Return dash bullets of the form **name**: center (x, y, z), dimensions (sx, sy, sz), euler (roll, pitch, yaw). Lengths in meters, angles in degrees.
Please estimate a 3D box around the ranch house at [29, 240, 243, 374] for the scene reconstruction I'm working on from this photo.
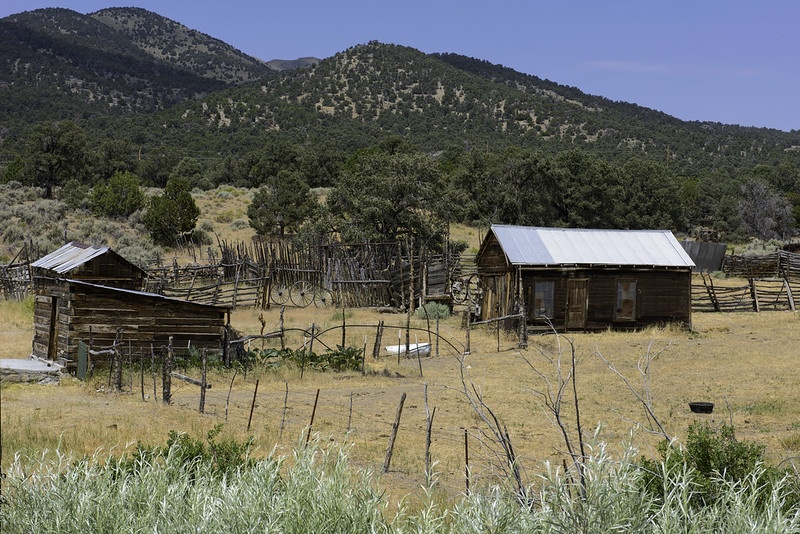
- **ranch house**: center (-15.081, 2.329, 56.019), dimensions (10.929, 7.288, 15.916), euler (0, -5, -7)

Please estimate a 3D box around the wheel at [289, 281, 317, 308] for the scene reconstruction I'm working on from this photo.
- **wheel**: center (-6.918, 1.970, 68.787), dimensions (1.743, 2.003, 0.265), euler (-2, -37, 8)

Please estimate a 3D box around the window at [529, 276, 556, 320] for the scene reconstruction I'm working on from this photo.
- **window**: center (8.682, 1.967, 58.563), dimensions (1.330, 2.805, 0.129), euler (0, -35, 8)

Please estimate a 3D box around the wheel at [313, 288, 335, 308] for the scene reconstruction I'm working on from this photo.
- **wheel**: center (-5.519, 2.100, 67.992), dimensions (0.843, 1.347, 2.016), euler (3, -6, -36)

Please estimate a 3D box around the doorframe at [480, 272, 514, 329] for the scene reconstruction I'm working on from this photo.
- **doorframe**: center (6.099, 1.951, 59.433), dimensions (2.037, 3.180, 0.766), euler (-2, -5, 44)

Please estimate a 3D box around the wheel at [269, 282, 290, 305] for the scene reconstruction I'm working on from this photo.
- **wheel**: center (-8.763, 1.945, 69.647), dimensions (1.297, 1.715, 4.536), euler (1, -5, -8)
